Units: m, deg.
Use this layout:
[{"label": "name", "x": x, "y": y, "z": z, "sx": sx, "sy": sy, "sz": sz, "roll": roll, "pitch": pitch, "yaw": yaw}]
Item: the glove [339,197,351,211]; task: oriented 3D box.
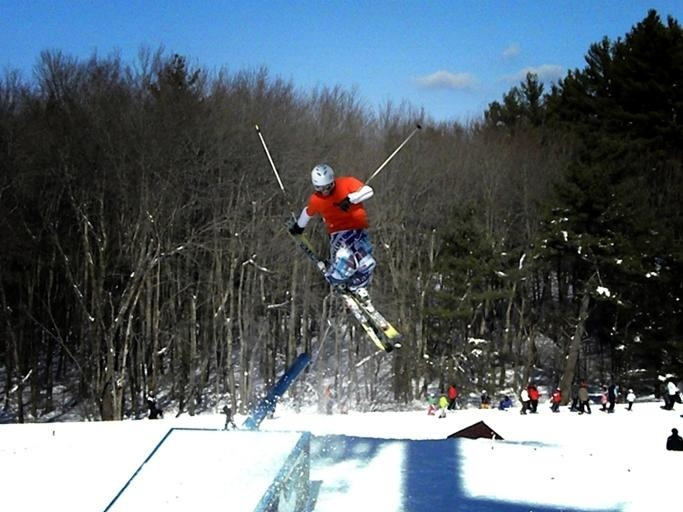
[{"label": "glove", "x": 0.118, "y": -1.565, "z": 24.248, "sx": 0.341, "sy": 0.390, "sz": 0.279, "roll": 0, "pitch": -3, "yaw": 2}]

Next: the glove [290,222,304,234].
[{"label": "glove", "x": -1.435, "y": -0.833, "z": 25.286, "sx": 0.319, "sy": 0.374, "sz": 0.515, "roll": -16, "pitch": 5, "yaw": -15}]
